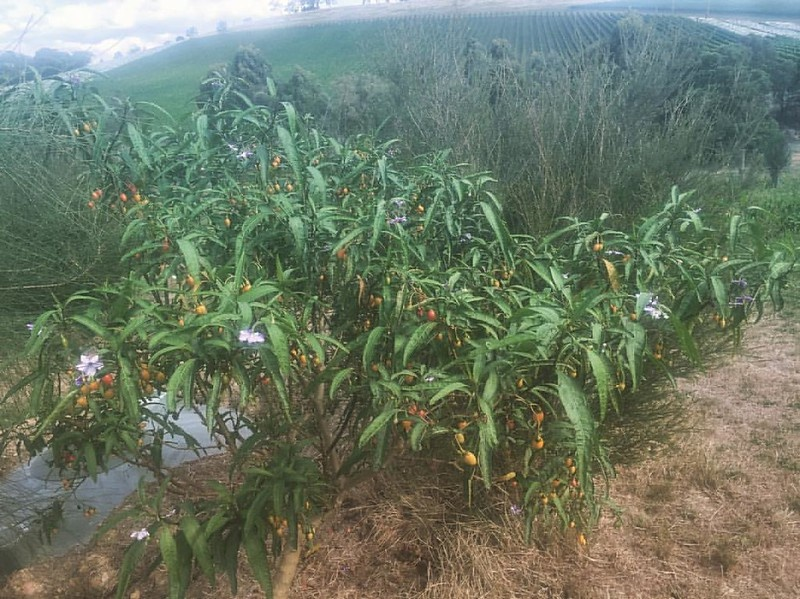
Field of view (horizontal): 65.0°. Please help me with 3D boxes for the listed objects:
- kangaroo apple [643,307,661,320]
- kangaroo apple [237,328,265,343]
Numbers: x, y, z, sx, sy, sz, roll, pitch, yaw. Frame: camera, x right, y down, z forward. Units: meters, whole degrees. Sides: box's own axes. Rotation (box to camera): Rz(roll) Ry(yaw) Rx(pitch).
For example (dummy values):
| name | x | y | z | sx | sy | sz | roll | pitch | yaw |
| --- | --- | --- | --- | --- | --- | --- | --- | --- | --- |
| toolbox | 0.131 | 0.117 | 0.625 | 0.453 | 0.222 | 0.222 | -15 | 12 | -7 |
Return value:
| name | x | y | z | sx | sy | sz | roll | pitch | yaw |
| --- | --- | --- | --- | --- | --- | --- | --- | --- | --- |
| kangaroo apple | 1.121 | 0.064 | 2.831 | 0.047 | 0.047 | 0.028 | 8 | 78 | 55 |
| kangaroo apple | -0.558 | 0.148 | 2.400 | 0.060 | 0.031 | 0.064 | 4 | 11 | -11 |
